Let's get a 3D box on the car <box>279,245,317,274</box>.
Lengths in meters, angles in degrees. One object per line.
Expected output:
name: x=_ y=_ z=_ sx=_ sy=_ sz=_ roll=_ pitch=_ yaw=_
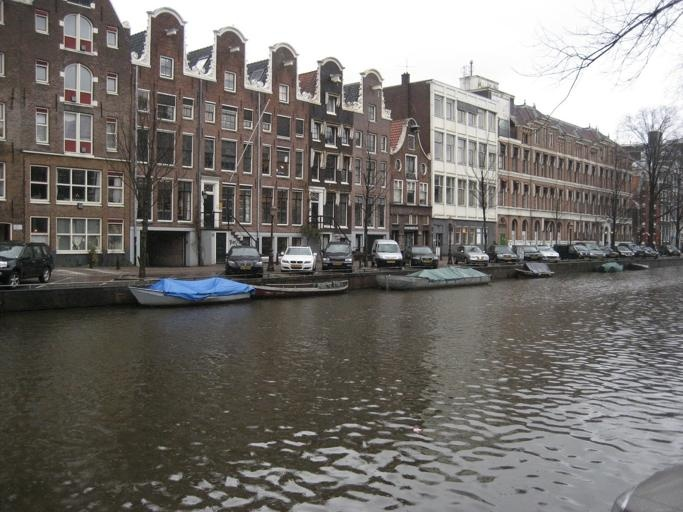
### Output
car: x=-2.563 y=0.257 z=37.358 sx=1.638 sy=1.596 sz=4.171 roll=0 pitch=-1 yaw=0

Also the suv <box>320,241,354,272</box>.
suv: x=-0.258 y=0.106 z=39.394 sx=1.678 sy=1.740 sz=3.096 roll=0 pitch=-4 yaw=1

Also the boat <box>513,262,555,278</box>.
boat: x=14.733 y=1.076 z=49.119 sx=3.076 sy=0.791 sz=1.464 roll=0 pitch=-1 yaw=-28

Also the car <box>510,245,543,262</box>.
car: x=16.576 y=-0.191 z=57.554 sx=1.849 sy=1.516 sz=3.609 roll=0 pitch=-1 yaw=-3

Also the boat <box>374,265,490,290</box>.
boat: x=5.703 y=1.349 z=38.910 sx=8.038 sy=1.237 sz=1.580 roll=0 pitch=-1 yaw=-41

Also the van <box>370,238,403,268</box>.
van: x=3.081 y=-0.155 z=43.008 sx=1.664 sy=1.909 sz=2.410 roll=-1 pitch=-1 yaw=-6

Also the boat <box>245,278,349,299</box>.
boat: x=-2.057 y=1.261 z=32.468 sx=6.666 sy=1.170 sz=1.419 roll=-3 pitch=5 yaw=-42

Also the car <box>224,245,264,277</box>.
car: x=-5.203 y=0.345 z=34.203 sx=1.891 sy=1.511 sz=2.250 roll=-1 pitch=-1 yaw=-11

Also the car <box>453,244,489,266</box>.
car: x=10.184 y=-0.030 z=51.176 sx=1.293 sy=1.142 sz=3.069 roll=0 pitch=-2 yaw=-11

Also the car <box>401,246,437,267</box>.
car: x=5.685 y=0.055 z=45.096 sx=1.906 sy=1.566 sz=2.791 roll=-1 pitch=-1 yaw=-1

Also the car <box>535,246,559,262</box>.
car: x=18.525 y=-0.139 z=57.942 sx=1.254 sy=0.967 sz=2.757 roll=-1 pitch=0 yaw=2
